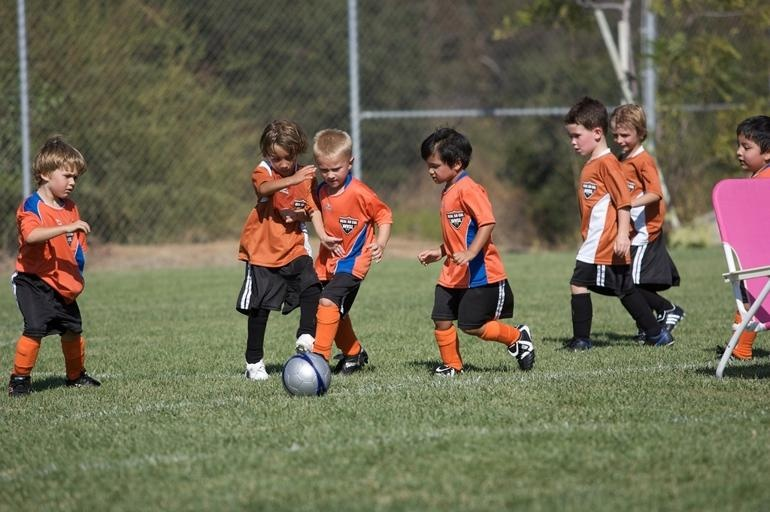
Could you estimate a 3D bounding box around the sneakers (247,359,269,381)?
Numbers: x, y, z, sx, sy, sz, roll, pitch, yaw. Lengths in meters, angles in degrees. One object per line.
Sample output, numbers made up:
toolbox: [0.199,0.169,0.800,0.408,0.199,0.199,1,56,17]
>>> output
sneakers: [-1.241,1.110,10.671,0.154,0.138,0.294,-1,-8,-7]

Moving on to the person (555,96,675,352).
person: [2.315,-0.296,11.200,0.926,2.512,0.677,0,14,9]

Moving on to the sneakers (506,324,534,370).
sneakers: [1.369,0.897,10.669,0.211,0.524,0.179,-18,9,-32]

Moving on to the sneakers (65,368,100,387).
sneakers: [-2.929,1.182,10.658,0.355,0.168,0.152,0,0,-2]

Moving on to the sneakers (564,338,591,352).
sneakers: [1.988,0.910,11.268,0.220,0.096,0.131,3,-5,-19]

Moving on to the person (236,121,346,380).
person: [-0.993,-0.062,10.689,0.944,2.404,0.695,-4,14,-9]

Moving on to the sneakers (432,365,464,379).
sneakers: [0.608,1.140,10.591,0.259,0.134,0.116,13,-15,-13]

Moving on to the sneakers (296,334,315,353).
sneakers: [-0.772,0.851,10.719,0.133,0.195,0.184,8,3,13]

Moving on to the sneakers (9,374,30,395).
sneakers: [-3.473,1.223,10.449,0.143,0.148,0.324,1,-6,-19]

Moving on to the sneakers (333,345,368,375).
sneakers: [-0.306,1.061,10.984,0.152,0.219,0.427,-1,5,43]

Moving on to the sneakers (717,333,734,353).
sneakers: [3.416,0.874,11.018,0.093,0.102,0.320,9,14,31]
